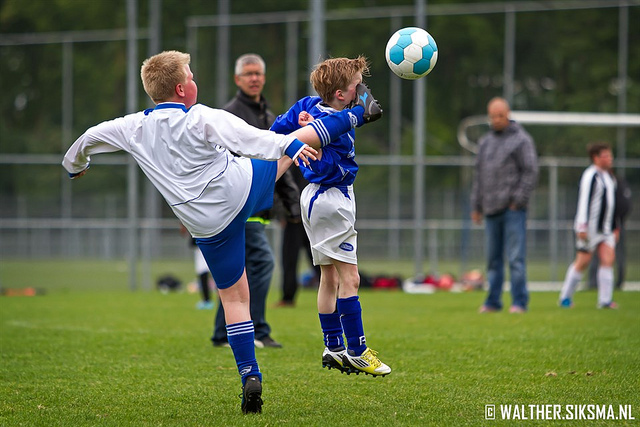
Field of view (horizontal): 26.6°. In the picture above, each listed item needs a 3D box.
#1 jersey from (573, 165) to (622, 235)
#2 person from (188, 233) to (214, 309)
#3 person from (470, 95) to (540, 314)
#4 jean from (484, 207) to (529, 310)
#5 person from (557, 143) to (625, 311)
[{"bbox_3d":[3.722,-0.122,18.065,0.462,1.037,0.503,4,-2,-40],"label":"jersey"},{"bbox_3d":[-1.820,0.813,21.110,0.369,1.257,0.312,-2,18,-19],"label":"person"},{"bbox_3d":[2.588,-0.011,18.972,0.806,3.377,1.547,-1,12,-2],"label":"person"},{"bbox_3d":[2.595,0.511,18.636,0.347,1.236,0.784,-11,16,-38],"label":"jean"},{"bbox_3d":[3.599,0.121,18.256,0.813,2.040,0.784,0,0,-18],"label":"person"}]
